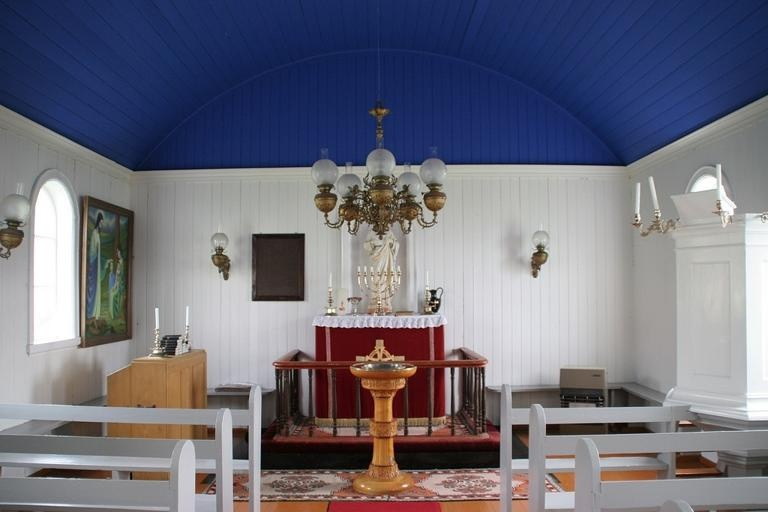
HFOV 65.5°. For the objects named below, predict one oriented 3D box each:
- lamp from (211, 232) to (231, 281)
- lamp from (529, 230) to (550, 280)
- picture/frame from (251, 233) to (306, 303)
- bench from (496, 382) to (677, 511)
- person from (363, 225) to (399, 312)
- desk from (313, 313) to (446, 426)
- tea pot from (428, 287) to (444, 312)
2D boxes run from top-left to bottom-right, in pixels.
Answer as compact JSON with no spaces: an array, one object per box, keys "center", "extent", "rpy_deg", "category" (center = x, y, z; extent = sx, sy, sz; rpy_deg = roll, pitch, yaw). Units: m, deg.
[{"center":[-2.551,0.012,9.323],"extent":[0.268,0.764,0.343],"rpy_deg":[-5,14,-15],"category":"lamp"},{"center":[2.427,-0.029,9.336],"extent":[0.280,0.760,0.306],"rpy_deg":[2,14,11],"category":"lamp"},{"center":[-1.679,0.217,9.375],"extent":[1.042,1.321,0.089],"rpy_deg":[0,-3,-1],"category":"picture/frame"},{"center":[2.073,1.965,6.118],"extent":[1.578,1.020,0.558],"rpy_deg":[0,0,1],"category":"bench"},{"center":[-0.052,0.090,9.240],"extent":[0.587,1.730,0.351],"rpy_deg":[3,-20,-8],"category":"person"},{"center":[-0.038,1.667,9.017],"extent":[1.947,1.549,1.165],"rpy_deg":[-1,-7,2],"category":"desk"},{"center":[0.773,0.685,9.147],"extent":[0.168,0.367,0.570],"rpy_deg":[2,14,14],"category":"tea pot"}]
